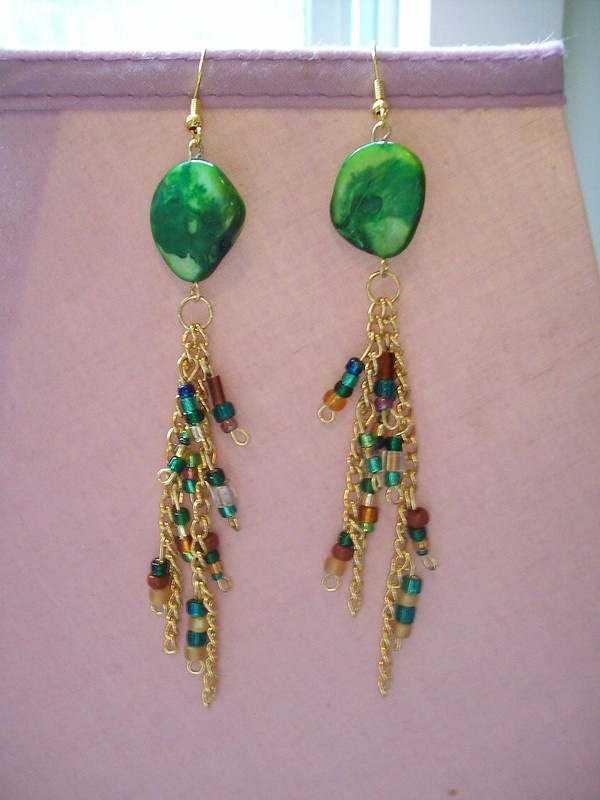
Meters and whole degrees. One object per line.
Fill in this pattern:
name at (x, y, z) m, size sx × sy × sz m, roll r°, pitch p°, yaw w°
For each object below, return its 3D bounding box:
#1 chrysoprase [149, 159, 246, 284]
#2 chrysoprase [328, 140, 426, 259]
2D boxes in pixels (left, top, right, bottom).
chrysoprase at (-0.110, -0.177, 0.921) m, size 0.112 × 0.113 × 0.028 m, roll 6°, pitch 13°, yaw 2°
chrysoprase at (0.081, -0.209, 0.964) m, size 0.083 × 0.102 × 0.078 m, roll 10°, pitch -26°, yaw -20°
